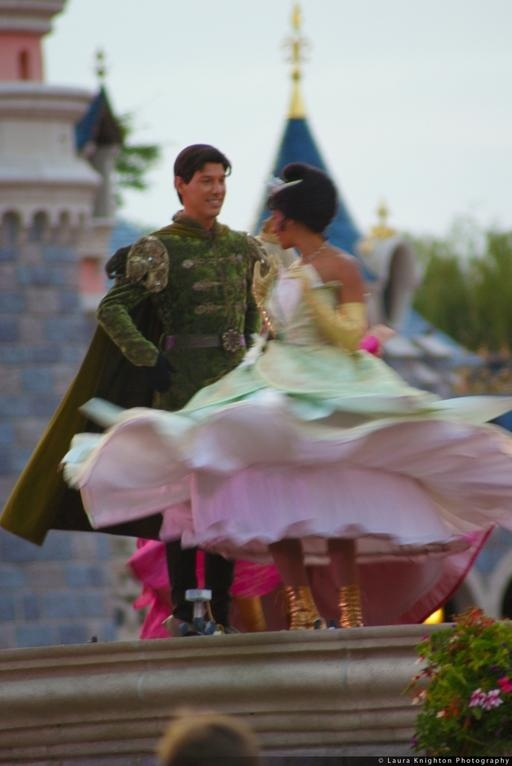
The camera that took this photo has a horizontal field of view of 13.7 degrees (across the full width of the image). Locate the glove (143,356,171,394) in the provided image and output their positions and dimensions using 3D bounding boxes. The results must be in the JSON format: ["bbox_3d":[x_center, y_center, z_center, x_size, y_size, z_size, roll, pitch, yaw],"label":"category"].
[{"bbox_3d":[-0.287,-0.025,7.152,0.105,0.115,0.032,6,18,26],"label":"glove"}]

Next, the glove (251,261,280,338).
[{"bbox_3d":[0.063,-0.261,7.026,0.079,0.210,0.166,3,11,2],"label":"glove"}]

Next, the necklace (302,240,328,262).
[{"bbox_3d":[0.219,-0.425,6.907,0.072,0.049,0.072,-7,-14,-21],"label":"necklace"}]
